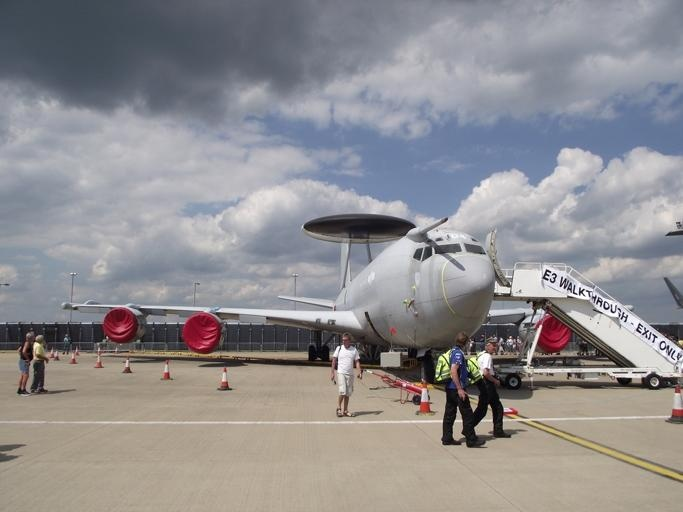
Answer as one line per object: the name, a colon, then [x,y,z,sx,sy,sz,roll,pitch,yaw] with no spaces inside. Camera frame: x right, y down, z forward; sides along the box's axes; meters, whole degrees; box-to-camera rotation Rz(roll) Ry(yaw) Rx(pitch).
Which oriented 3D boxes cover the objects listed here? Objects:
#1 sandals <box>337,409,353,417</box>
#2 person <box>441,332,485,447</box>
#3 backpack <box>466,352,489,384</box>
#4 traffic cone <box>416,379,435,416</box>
sandals: [0.070,3.942,14.488,0.412,0.173,0.165,-2,-5,-2]
person: [2.486,2.783,12.046,0.707,2.291,0.556,-4,-8,35]
backpack: [2.893,2.428,12.586,0.569,0.634,0.459,7,-15,-1]
traffic cone: [2.311,3.732,15.019,0.648,0.922,0.681,1,-11,-7]
